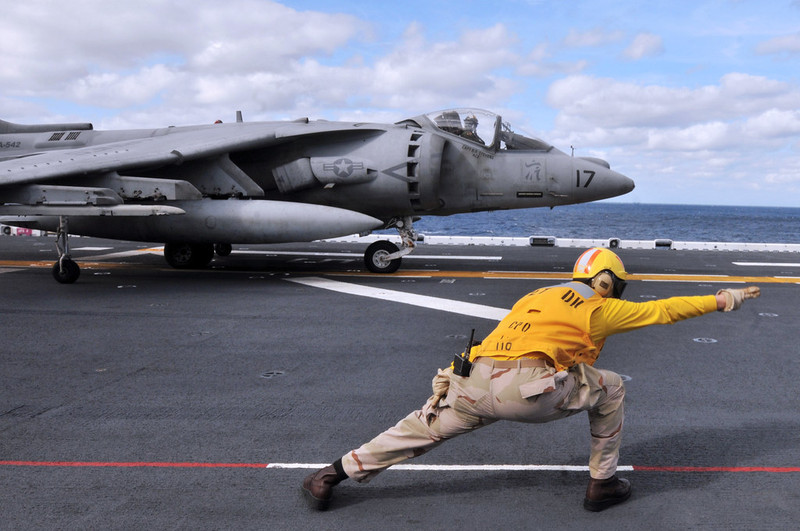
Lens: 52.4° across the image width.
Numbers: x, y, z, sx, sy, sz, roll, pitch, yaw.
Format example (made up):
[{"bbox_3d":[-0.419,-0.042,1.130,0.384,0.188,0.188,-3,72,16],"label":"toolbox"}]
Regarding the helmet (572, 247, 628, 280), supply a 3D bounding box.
[{"bbox_3d":[2.091,0.006,8.619,0.665,0.357,0.390,-1,15,-14],"label":"helmet"}]
